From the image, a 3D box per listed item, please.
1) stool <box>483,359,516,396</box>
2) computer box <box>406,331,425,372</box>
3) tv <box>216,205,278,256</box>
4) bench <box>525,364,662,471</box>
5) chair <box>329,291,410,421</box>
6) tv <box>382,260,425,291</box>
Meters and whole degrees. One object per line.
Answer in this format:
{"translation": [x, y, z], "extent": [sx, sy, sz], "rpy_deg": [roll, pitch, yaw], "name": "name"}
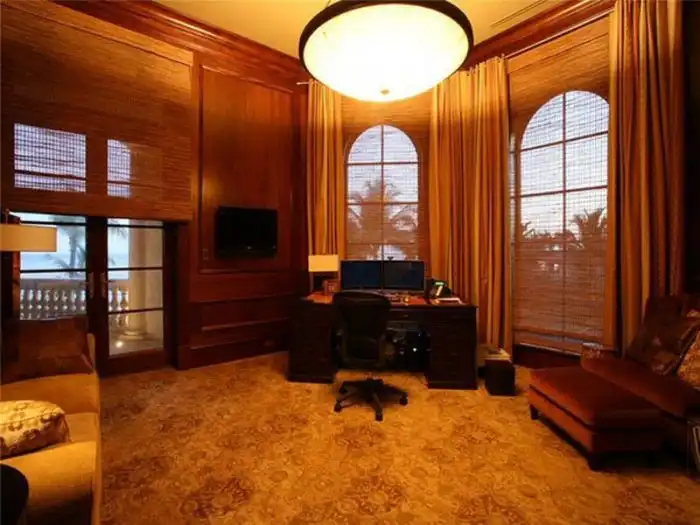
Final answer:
{"translation": [1.672, 1.304, 5.730], "extent": [0.318, 0.324, 0.343], "rpy_deg": [-2, -6, 4], "name": "stool"}
{"translation": [0.918, 1.171, 6.786], "extent": [0.303, 0.533, 0.295], "rpy_deg": [-4, -10, 4], "name": "computer box"}
{"translation": [-1.427, -0.426, 6.822], "extent": [0.680, 0.522, 0.092], "rpy_deg": [0, 0, -40], "name": "tv"}
{"translation": [2.294, 1.272, 4.675], "extent": [0.662, 0.540, 1.063], "rpy_deg": [3, -3, -8], "name": "bench"}
{"translation": [0.197, 0.940, 5.527], "extent": [0.773, 1.326, 0.788], "rpy_deg": [-2, 2, 2], "name": "chair"}
{"translation": [0.670, 0.160, 6.479], "extent": [0.636, 0.476, 0.339], "rpy_deg": [0, -2, 11], "name": "tv"}
